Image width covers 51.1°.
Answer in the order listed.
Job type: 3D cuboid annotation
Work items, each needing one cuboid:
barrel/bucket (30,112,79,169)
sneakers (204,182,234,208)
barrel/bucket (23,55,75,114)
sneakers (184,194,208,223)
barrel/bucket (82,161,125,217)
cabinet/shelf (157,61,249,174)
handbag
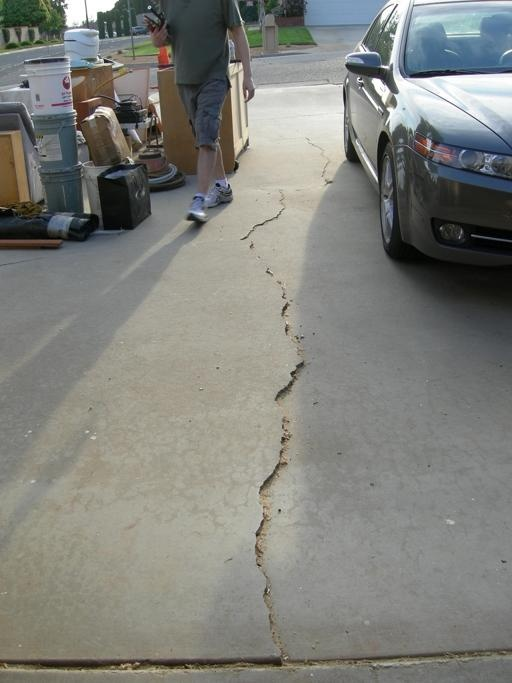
[{"bbox_3d":[-1.766,-1.740,4.600,0.413,0.456,0.401,3,28,-2],"label":"barrel/bucket"},{"bbox_3d":[-0.327,-1.316,4.778,0.125,0.187,0.397,14,29,26],"label":"sneakers"},{"bbox_3d":[-1.664,-2.147,4.535,0.427,0.508,0.460,0,23,0],"label":"barrel/bucket"},{"bbox_3d":[-0.477,-1.056,4.227,0.103,0.211,0.192,3,21,20],"label":"sneakers"},{"bbox_3d":[-1.238,-1.256,4.370,0.372,0.533,0.352,0,26,0],"label":"barrel/bucket"},{"bbox_3d":[-0.531,-2.744,6.297,0.700,1.145,1.368,-6,23,14],"label":"cabinet/shelf"},{"bbox_3d":[-1.120,-1.258,4.489,0.308,0.453,0.590,-2,15,7],"label":"handbag"}]
